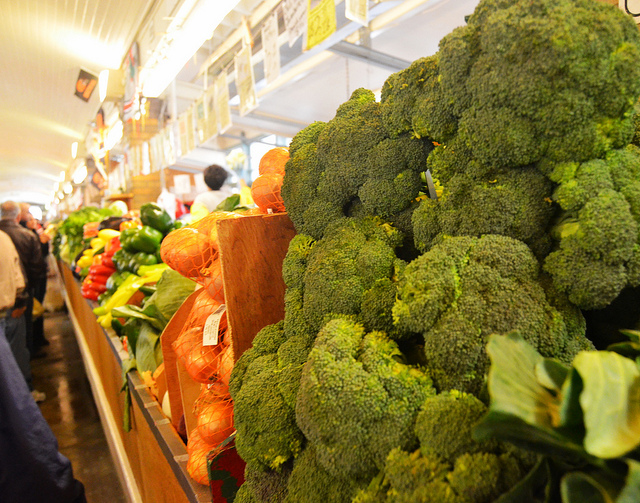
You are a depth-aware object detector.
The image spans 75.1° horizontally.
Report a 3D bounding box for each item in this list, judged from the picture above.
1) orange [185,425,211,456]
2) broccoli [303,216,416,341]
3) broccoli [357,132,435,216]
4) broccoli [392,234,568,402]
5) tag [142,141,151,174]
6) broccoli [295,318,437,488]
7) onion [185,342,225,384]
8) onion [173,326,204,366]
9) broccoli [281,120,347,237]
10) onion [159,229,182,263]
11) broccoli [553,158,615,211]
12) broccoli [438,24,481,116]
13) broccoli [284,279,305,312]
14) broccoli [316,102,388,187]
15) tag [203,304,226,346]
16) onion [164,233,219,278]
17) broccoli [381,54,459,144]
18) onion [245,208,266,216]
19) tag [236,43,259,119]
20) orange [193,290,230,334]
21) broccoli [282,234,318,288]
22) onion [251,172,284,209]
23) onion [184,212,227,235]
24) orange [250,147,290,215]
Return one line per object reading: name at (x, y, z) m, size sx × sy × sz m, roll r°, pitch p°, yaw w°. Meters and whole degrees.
orange at (-0.395, 0.580, 1.318) m, size 0.083 × 0.086 × 0.093 m, roll 13°, pitch 0°, yaw -21°
broccoli at (0.074, 0.048, 0.823) m, size 0.181 × 0.228 × 0.105 m, roll -33°, pitch -50°, yaw 20°
broccoli at (0.172, -0.155, 0.871) m, size 0.124 × 0.164 × 0.080 m, roll 10°, pitch -20°, yaw 47°
broccoli at (0.246, 0.064, 0.690) m, size 0.137 × 0.192 × 0.255 m, roll 42°, pitch 21°, yaw -21°
tag at (-2.981, -1.601, 7.149) m, size 0.230 × 0.520 × 0.067 m, roll 11°, pitch 8°, yaw 42°
broccoli at (0.090, 0.209, 0.725) m, size 0.200 × 0.139 × 0.257 m, roll -33°, pitch 15°, yaw 24°
onion at (-0.381, 0.369, 1.380) m, size 0.117 × 0.143 × 0.118 m, roll -5°, pitch -22°, yaw 3°
onion at (-0.428, 0.295, 1.384) m, size 0.073 × 0.122 × 0.101 m, roll 27°, pitch -20°, yaw 4°
broccoli at (-0.031, -0.178, 0.988) m, size 0.120 × 0.251 × 0.188 m, roll 4°, pitch -20°, yaw -24°
onion at (-0.529, -0.009, 1.454) m, size 0.083 × 0.108 × 0.050 m, roll 14°, pitch 21°, yaw -38°
broccoli at (0.384, -0.097, 0.605) m, size 0.063 × 0.038 × 0.078 m, roll -25°, pitch -18°, yaw -43°
broccoli at (0.248, -0.310, 0.710) m, size 0.051 × 0.126 × 0.101 m, roll -6°, pitch 18°, yaw -13°
broccoli at (-0.058, 0.096, 0.914) m, size 0.026 × 0.065 × 0.050 m, roll 23°, pitch -5°, yaw -12°
broccoli at (0.089, -0.246, 0.934) m, size 0.094 × 0.182 × 0.138 m, roll 18°, pitch -47°, yaw -34°
tag at (-0.322, 0.231, 1.333) m, size 0.032 × 0.135 × 0.073 m, roll 24°, pitch -25°, yaw -40°
onion at (-0.427, 0.007, 1.375) m, size 0.160 × 0.095 × 0.142 m, roll -26°, pitch -27°, yaw 22°
broccoli at (0.219, -0.288, 0.825) m, size 0.084 × 0.173 × 0.135 m, roll 0°, pitch -30°, yaw -41°
onion at (-0.207, -0.128, 1.343) m, size 0.043 × 0.015 × 0.042 m, roll -7°, pitch 31°, yaw 5°
tag at (-0.677, -1.539, 3.782) m, size 0.021 × 0.544 × 0.300 m, roll -7°, pitch 1°, yaw -38°
orange at (-0.366, 0.193, 1.375) m, size 0.076 × 0.121 × 0.218 m, roll 2°, pitch 7°, yaw -29°
broccoli at (-0.048, 0.024, 0.954) m, size 0.054 × 0.090 × 0.113 m, roll 14°, pitch -36°, yaw -5°
onion at (-0.152, -0.199, 1.349) m, size 0.112 × 0.112 × 0.130 m, roll -6°, pitch 20°, yaw -6°
onion at (-0.402, -0.101, 1.441) m, size 0.121 × 0.077 × 0.170 m, roll 3°, pitch 7°, yaw -18°
orange at (-0.158, -0.214, 1.352) m, size 0.107 × 0.239 × 0.149 m, roll -6°, pitch -13°, yaw 14°
